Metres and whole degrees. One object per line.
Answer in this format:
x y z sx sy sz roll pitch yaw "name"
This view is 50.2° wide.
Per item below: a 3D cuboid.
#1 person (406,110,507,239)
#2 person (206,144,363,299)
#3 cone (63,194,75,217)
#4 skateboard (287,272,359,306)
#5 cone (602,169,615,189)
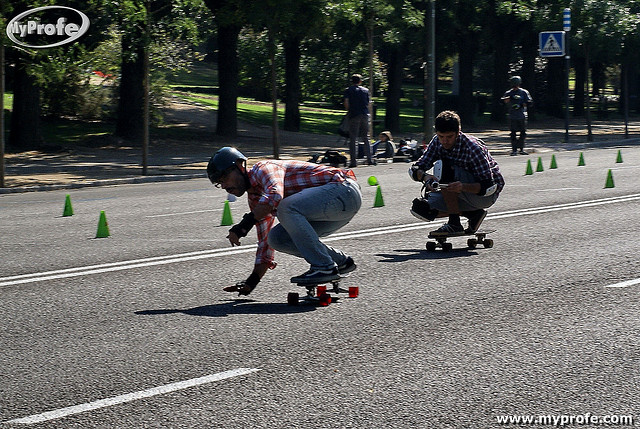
1.895 -0.544 9.486 1.264 1.725 0.670 0 9 9 "person"
-0.356 -0.035 7.226 1.953 1.157 1.016 0 -25 9 "person"
-4.849 -0.173 13.153 0.226 0.389 0.448 -4 8 -18 "cone"
0.033 0.785 7.222 0.491 0.180 0.784 -5 -2 33 "skateboard"
6.247 -0.755 14.745 0.229 0.388 0.566 2 7 23 "cone"
